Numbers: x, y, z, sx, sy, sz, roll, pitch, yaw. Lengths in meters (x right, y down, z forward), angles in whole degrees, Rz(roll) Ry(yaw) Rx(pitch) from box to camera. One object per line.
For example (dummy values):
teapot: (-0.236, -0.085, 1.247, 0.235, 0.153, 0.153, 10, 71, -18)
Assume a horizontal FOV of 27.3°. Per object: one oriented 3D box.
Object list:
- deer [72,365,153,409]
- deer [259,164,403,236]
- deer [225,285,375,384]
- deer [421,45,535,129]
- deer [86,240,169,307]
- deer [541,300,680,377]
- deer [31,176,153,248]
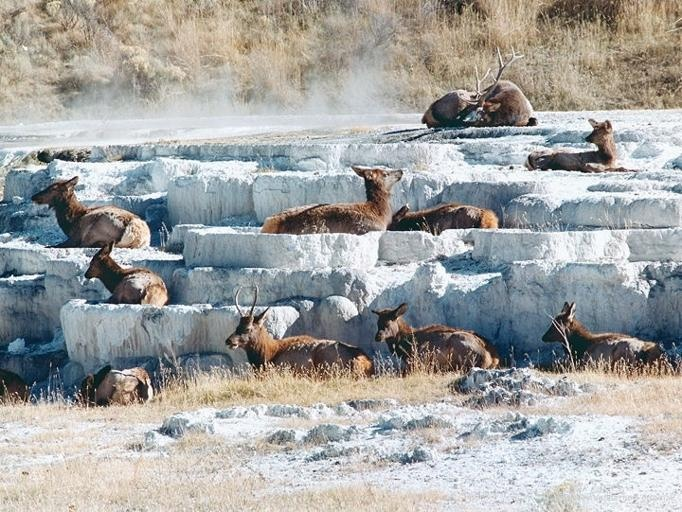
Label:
deer: (-4.377, 2.511, 27.393, 1.540, 1.036, 0.680, -6, -20, 33)
deer: (-0.023, -1.174, 30.181, 2.774, 1.470, 1.020, -5, 0, -1)
deer: (-0.872, 1.577, 27.483, 2.700, 1.781, 0.579, -5, 0, 8)
deer: (3.631, -4.116, 36.528, 2.754, 1.967, 0.994, -5, 0, 11)
deer: (-4.450, 0.379, 29.250, 1.601, 1.374, 0.848, -5, 0, 22)
deer: (4.999, 1.576, 26.815, 2.236, 1.375, 0.662, -5, 0, 17)
deer: (-5.517, -0.943, 31.262, 2.407, 1.674, 0.817, -5, 0, 14)
